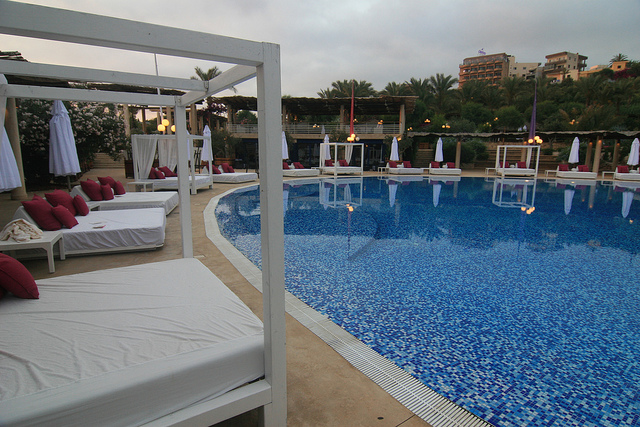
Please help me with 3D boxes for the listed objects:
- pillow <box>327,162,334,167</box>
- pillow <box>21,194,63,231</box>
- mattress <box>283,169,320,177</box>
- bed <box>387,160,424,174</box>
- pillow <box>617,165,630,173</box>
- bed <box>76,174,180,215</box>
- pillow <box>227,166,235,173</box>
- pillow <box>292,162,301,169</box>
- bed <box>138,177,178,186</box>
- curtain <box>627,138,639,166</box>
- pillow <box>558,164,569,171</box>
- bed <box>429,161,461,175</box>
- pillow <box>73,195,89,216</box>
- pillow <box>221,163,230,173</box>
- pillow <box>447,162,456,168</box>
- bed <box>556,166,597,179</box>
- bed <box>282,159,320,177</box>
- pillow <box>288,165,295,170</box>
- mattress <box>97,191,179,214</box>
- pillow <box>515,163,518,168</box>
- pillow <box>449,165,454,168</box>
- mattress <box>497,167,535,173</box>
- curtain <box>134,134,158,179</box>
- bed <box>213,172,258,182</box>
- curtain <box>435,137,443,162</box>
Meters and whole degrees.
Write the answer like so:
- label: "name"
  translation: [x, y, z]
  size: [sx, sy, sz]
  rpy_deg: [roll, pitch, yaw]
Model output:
- label: "pillow"
  translation: [0.620, -2.966, 23.407]
  size: [0.298, 0.274, 0.071]
  rpy_deg: [1, 5, -2]
- label: "pillow"
  translation: [-5.052, 0.032, 7.140]
  size: [0.542, 0.538, 0.374]
  rpy_deg: [0, 11, -2]
- label: "mattress"
  translation: [-1.070, -2.287, 21.783]
  size: [2.249, 0.393, 0.534]
  rpy_deg: [-7, 13, -38]
- label: "bed"
  translation: [5.345, -2.923, 24.654]
  size: [2.035, 0.730, 1.243]
  rpy_deg: [2, 11, 7]
- label: "pillow"
  translation: [17.261, -2.493, 22.080]
  size: [0.503, 0.336, 1.007]
  rpy_deg: [9, 13, 38]
- label: "bed"
  translation: [-4.964, -0.435, 9.893]
  size: [2.090, 1.007, 2.030]
  rpy_deg: [1, 10, -18]
- label: "pillow"
  translation: [-4.280, -2.101, 18.603]
  size: [0.072, 0.278, 0.303]
  rpy_deg: [-3, 3, 31]
- label: "pillow"
  translation: [-1.365, -2.838, 22.991]
  size: [0.410, 0.113, 0.419]
  rpy_deg: [3, 41, -18]
- label: "bed"
  translation: [-5.649, -1.099, 13.831]
  size: [1.088, 0.262, 0.971]
  rpy_deg: [-4, 11, -23]
- label: "curtain"
  translation: [18.508, -3.646, 22.819]
  size: [0.477, 1.481, 0.819]
  rpy_deg: [9, 15, 37]
- label: "pillow"
  translation: [14.462, -2.721, 23.086]
  size: [0.447, 0.326, 0.439]
  rpy_deg: [-4, 15, -7]
- label: "bed"
  translation: [7.970, -2.930, 25.012]
  size: [1.826, 0.755, 1.780]
  rpy_deg: [2, 10, 8]
- label: "pillow"
  translation: [-5.083, -0.157, 8.248]
  size: [0.217, 0.471, 0.366]
  rpy_deg: [-21, 24, -15]
- label: "pillow"
  translation: [-4.463, -2.162, 18.503]
  size: [0.330, 0.392, 0.555]
  rpy_deg: [-5, 12, -25]
- label: "pillow"
  translation: [8.723, -3.209, 25.809]
  size: [0.468, 0.370, 1.607]
  rpy_deg: [4, 11, 18]
- label: "bed"
  translation: [14.858, -2.318, 22.496]
  size: [1.858, 0.532, 0.636]
  rpy_deg: [5, 12, 22]
- label: "bed"
  translation: [-1.179, -2.546, 22.316]
  size: [1.804, 0.731, 2.586]
  rpy_deg: [-1, 10, -6]
- label: "pillow"
  translation: [-1.615, -2.628, 22.157]
  size: [0.263, 0.191, 0.279]
  rpy_deg: [0, 8, 6]
- label: "mattress"
  translation: [-4.539, -0.325, 9.988]
  size: [1.142, 0.268, 1.138]
  rpy_deg: [1, 7, 6]
- label: "pillow"
  translation: [12.246, -2.984, 24.240]
  size: [0.223, 0.412, 0.223]
  rpy_deg: [1, 5, 12]
- label: "pillow"
  translation: [8.628, -3.086, 25.454]
  size: [0.188, 0.173, 0.043]
  rpy_deg: [0, 9, -14]
- label: "mattress"
  translation: [11.735, -2.559, 23.051]
  size: [1.931, 0.277, 1.030]
  rpy_deg: [2, 10, 9]
- label: "curtain"
  translation: [-6.036, -1.878, 13.493]
  size: [0.835, 1.589, 0.148]
  rpy_deg: [2, 4, 4]
- label: "bed"
  translation: [-3.980, -1.704, 18.248]
  size: [0.810, 0.392, 2.169]
  rpy_deg: [10, 14, 41]
- label: "curtain"
  translation: [8.030, -4.286, 26.166]
  size: [0.315, 1.576, 0.900]
  rpy_deg: [2, 12, 10]
